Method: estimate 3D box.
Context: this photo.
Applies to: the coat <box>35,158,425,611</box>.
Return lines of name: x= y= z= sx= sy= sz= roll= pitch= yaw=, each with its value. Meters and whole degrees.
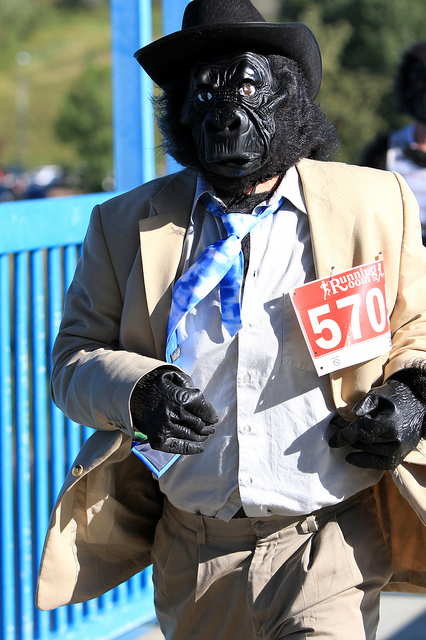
coat: x=0.054 y=0.206 z=3.212 sx=1.107 sy=1.245 sz=0.661 roll=-1 pitch=24 yaw=7
